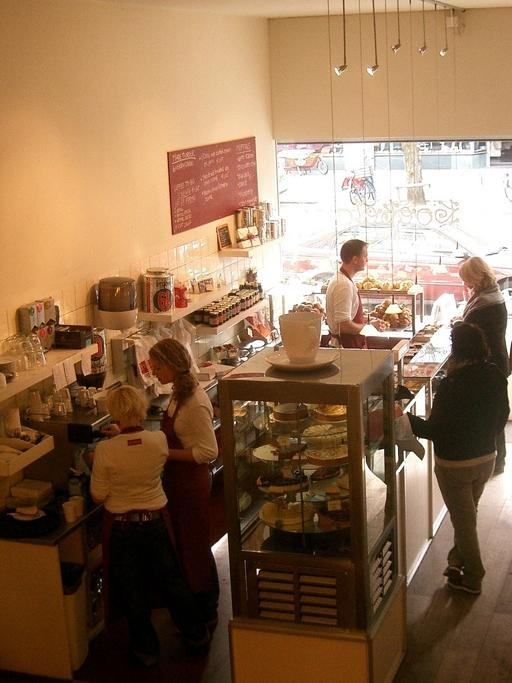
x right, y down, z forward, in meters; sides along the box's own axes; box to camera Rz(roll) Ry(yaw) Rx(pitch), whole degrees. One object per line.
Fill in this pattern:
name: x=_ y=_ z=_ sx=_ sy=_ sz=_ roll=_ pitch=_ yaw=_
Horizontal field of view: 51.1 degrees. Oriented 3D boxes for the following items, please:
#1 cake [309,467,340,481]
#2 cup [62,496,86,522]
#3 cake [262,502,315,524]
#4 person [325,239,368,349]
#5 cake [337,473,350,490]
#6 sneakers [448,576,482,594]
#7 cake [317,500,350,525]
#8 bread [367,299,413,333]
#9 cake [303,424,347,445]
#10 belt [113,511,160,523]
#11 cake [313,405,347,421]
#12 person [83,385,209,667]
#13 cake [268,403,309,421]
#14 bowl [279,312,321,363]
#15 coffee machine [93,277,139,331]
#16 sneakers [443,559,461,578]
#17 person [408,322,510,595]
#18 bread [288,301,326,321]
cake: x=0.197 y=0.383 z=1.527 sx=0.024 sy=0.044 sz=0.109 roll=-2 pitch=0 yaw=-35
cup: x=-0.802 y=0.736 z=2.346 sx=0.082 sy=0.067 sz=0.088 roll=1 pitch=0 yaw=0
cake: x=0.093 y=0.523 z=1.627 sx=0.094 sy=0.023 sz=0.097 roll=1 pitch=2 yaw=2
person: x=0.698 y=-0.362 z=4.135 sx=0.334 sy=0.825 sz=0.369 roll=-2 pitch=0 yaw=-11
cake: x=0.244 y=0.392 z=1.485 sx=0.013 sy=0.043 sz=0.042 roll=0 pitch=0 yaw=-36
sneakers: x=1.107 y=1.306 z=2.851 sx=0.154 sy=0.066 sz=0.062 roll=20 pitch=19 yaw=40
cake: x=0.226 y=0.492 z=1.537 sx=0.089 sy=0.037 sz=0.098 roll=0 pitch=11 yaw=2
bread: x=1.114 y=-0.208 z=4.371 sx=0.248 sy=0.161 sz=0.315 roll=1 pitch=5 yaw=6
cake: x=0.190 y=0.261 z=1.473 sx=0.039 sy=0.062 sz=0.144 roll=-2 pitch=0 yaw=-44
belt: x=-0.487 y=0.706 z=2.152 sx=0.188 sy=0.044 sz=0.046 roll=-3 pitch=0 yaw=-9
cake: x=0.196 y=0.195 z=1.435 sx=0.019 sy=0.044 sz=0.108 roll=-2 pitch=0 yaw=-42
person: x=-0.462 y=0.777 z=2.312 sx=0.443 sy=1.166 sz=0.339 roll=-5 pitch=10 yaw=-16
cake: x=0.085 y=0.201 z=1.501 sx=0.127 sy=0.051 sz=0.035 roll=-3 pitch=0 yaw=36
bowl: x=0.126 y=-0.011 z=1.557 sx=0.099 sy=0.115 sz=0.154 roll=-1 pitch=2 yaw=2
coffee machine: x=-0.801 y=-0.222 z=3.096 sx=0.242 sy=0.266 sz=0.247 roll=-4 pitch=13 yaw=-17
sneakers: x=1.062 y=1.246 z=2.889 sx=0.049 sy=0.059 sz=0.126 roll=1 pitch=-17 yaw=8
person: x=1.046 y=0.625 z=2.726 sx=0.459 sy=1.426 sz=0.502 roll=-3 pitch=0 yaw=25
bread: x=0.476 y=-0.302 z=4.842 sx=0.271 sy=0.122 sz=0.313 roll=-1 pitch=11 yaw=-2
